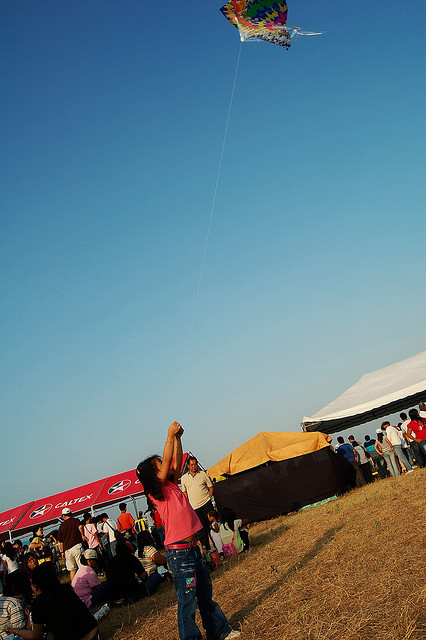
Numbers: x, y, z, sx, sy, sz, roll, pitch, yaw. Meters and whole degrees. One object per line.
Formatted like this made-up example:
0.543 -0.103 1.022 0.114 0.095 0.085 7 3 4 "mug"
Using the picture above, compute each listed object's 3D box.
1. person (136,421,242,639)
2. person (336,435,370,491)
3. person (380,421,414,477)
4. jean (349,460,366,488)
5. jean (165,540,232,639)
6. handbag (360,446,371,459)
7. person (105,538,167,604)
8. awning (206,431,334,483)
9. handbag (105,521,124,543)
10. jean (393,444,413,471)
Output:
-0.228 1.654 4.051 0.451 1.676 0.558 -15 -13 -4 "person"
3.732 3.518 13.926 0.714 0.676 2.337 1 -45 22 "person"
4.447 3.043 12.814 0.360 1.330 1.228 -19 -14 15 "person"
3.768 3.962 13.810 0.348 0.660 0.158 -2 -19 -44 "jean"
-0.126 2.039 4.001 0.270 0.821 0.508 -18 -13 8 "jean"
4.107 3.550 14.133 0.083 0.322 0.339 -34 -55 17 "handbag"
-1.268 3.641 7.842 0.719 0.791 0.900 -8 -10 17 "person"
1.554 3.525 14.577 1.396 0.924 3.704 -2 -18 -46 "awning"
-2.292 5.050 12.696 0.328 0.475 0.921 -11 -13 -20 "handbag"
4.554 3.296 12.779 0.244 0.679 0.402 -21 -14 21 "jean"
